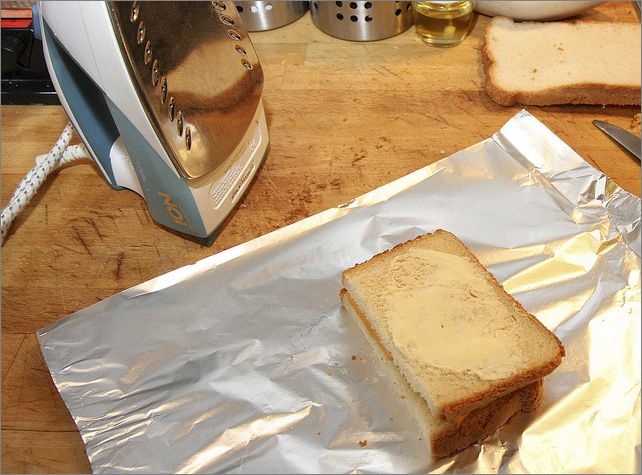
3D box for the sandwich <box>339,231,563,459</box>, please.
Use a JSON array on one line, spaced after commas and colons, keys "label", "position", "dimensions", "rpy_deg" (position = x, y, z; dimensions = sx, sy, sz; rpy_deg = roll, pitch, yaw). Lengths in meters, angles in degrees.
[{"label": "sandwich", "position": [0.281, 0.215, 1.349], "dimensions": [0.383, 0.172, 0.501], "rpy_deg": [-22, 56, -13]}]
